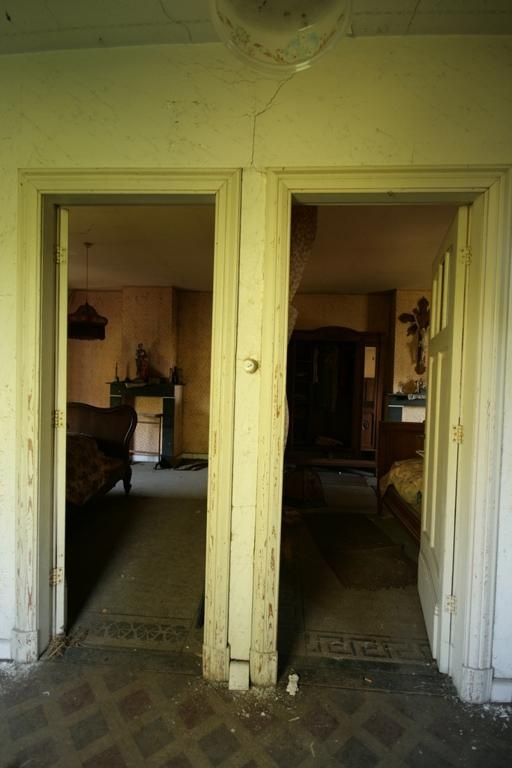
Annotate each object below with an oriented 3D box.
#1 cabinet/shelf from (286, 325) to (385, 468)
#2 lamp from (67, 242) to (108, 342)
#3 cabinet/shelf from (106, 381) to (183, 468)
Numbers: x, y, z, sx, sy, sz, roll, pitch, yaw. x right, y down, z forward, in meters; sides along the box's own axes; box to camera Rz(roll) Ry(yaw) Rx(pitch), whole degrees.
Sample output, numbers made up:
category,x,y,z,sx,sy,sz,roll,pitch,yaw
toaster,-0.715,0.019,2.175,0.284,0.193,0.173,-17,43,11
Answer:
category,x,y,z,sx,sy,sz,roll,pitch,yaw
cabinet/shelf,0.843,0.078,6.724,0.963,1.490,0.439,2,11,6
lamp,-1.662,-0.857,6.045,0.343,0.866,1.906,0,6,-14
cabinet/shelf,-1.291,0.440,6.927,0.720,0.932,0.509,1,-3,-13
